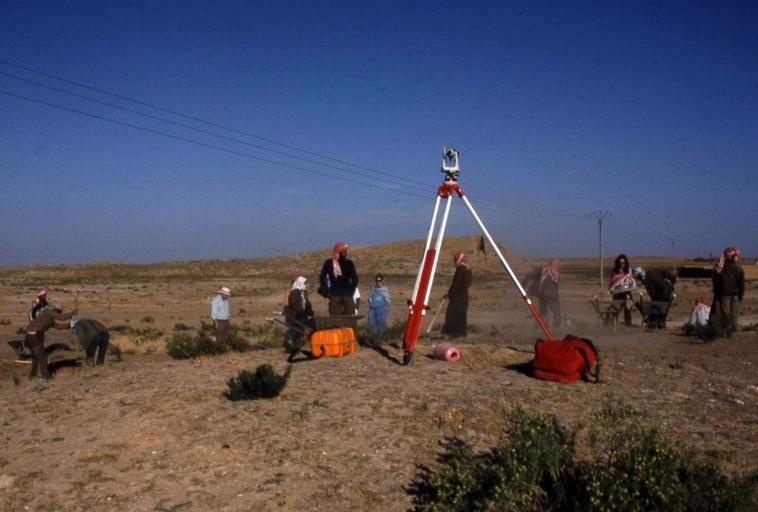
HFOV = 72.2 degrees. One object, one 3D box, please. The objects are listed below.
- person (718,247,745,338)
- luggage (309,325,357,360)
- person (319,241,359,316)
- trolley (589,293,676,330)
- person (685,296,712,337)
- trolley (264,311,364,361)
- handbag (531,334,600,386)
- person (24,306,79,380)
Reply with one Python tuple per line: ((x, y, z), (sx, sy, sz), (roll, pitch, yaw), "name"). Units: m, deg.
((10.541, 1.099, 15.582), (0.665, 2.700, 1.117), (4, 8, 34), "person")
((-1.204, 2.188, 13.118), (0.713, 0.559, 1.050), (-13, -10, 19), "luggage")
((-1.188, 0.695, 15.099), (1.085, 2.243, 1.175), (-1, 6, -6), "person")
((9.551, 2.092, 19.516), (1.893, 0.928, 1.496), (-1, 0, -4), "trolley")
((11.661, 2.199, 18.993), (0.694, 1.135, 1.223), (2, 3, 14), "person")
((-1.741, 2.229, 13.618), (2.133, 1.105, 1.570), (0, -2, 2), "trolley")
((4.363, 2.337, 11.884), (1.073, 0.518, 1.107), (1, 1, 26), "handbag")
((-8.582, 2.239, 13.313), (0.888, 1.790, 1.308), (0, 6, -1), "person")
